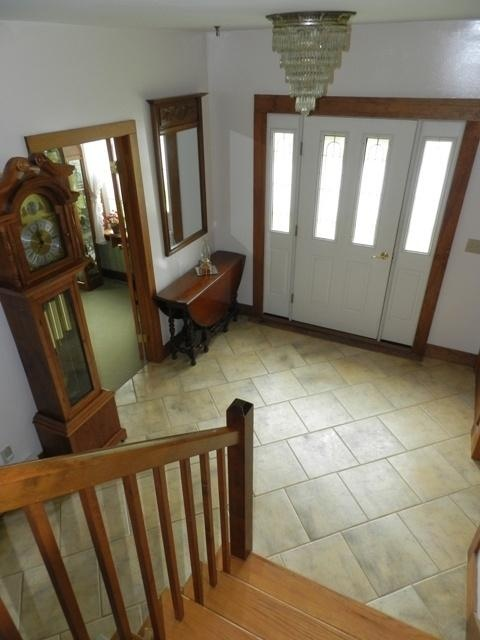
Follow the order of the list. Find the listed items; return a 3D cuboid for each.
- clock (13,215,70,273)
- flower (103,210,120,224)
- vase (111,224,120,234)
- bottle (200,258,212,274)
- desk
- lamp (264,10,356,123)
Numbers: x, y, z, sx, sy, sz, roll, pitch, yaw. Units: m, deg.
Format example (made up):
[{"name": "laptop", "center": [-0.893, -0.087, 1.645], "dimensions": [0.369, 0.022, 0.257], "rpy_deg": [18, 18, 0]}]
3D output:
[{"name": "clock", "center": [-1.099, -0.431, 2.406], "dimensions": [0.252, 0.261, 0.021], "rpy_deg": [-1, 0, 12]}, {"name": "flower", "center": [-1.709, -1.356, 5.750], "dimensions": [0.155, 0.135, 0.298], "rpy_deg": [-9, 24, -18]}, {"name": "vase", "center": [-1.650, -1.215, 5.713], "dimensions": [0.088, 0.134, 0.068], "rpy_deg": [0, 22, 2]}, {"name": "bottle", "center": [-0.352, -0.551, 4.450], "dimensions": [0.104, 0.173, 0.104], "rpy_deg": [0, 47, 0]}, {"name": "desk", "center": [-0.360, -0.128, 4.634], "dimensions": [0.371, 0.800, 1.216], "rpy_deg": [15, 35, 24]}, {"name": "lamp", "center": [0.358, -1.318, 2.200], "dimensions": [0.324, 0.424, 0.339], "rpy_deg": [-14, 26, -28]}]
